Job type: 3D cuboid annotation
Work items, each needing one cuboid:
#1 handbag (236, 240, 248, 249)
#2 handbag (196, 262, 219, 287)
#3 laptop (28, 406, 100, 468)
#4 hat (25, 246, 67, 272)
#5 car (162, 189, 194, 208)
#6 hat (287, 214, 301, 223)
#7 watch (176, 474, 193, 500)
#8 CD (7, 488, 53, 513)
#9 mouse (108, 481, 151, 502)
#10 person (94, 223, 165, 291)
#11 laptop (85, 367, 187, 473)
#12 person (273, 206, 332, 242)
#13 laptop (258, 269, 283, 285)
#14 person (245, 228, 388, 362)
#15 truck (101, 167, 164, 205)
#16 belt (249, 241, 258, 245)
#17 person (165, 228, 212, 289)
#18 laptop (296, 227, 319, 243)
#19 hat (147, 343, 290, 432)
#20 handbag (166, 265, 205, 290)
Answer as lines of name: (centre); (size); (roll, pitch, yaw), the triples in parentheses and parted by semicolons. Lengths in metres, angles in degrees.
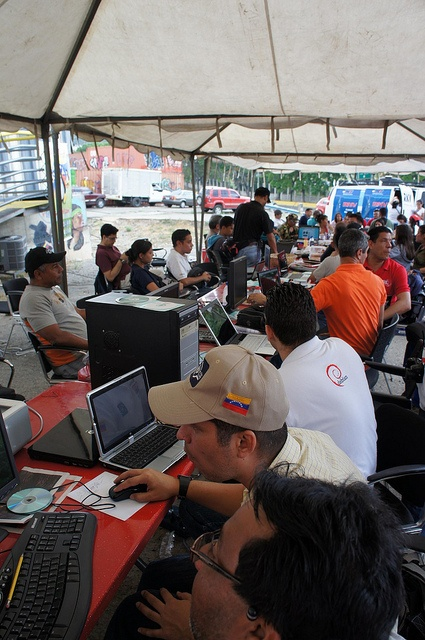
handbag: (0.452, -1.191, 6.459); (0.226, 0.123, 0.142); (-5, 17, -16)
handbag: (-0.025, -0.643, 5.822); (0.339, 0.459, 0.336); (-1, 5, 3)
laptop: (-0.608, 0.493, 1.742); (0.274, 0.068, 0.375); (13, 17, -19)
hat: (-1.313, -0.467, 3.194); (0.278, 0.204, 0.208); (-9, 13, -24)
car: (-2.248, -7.700, 25.852); (2.027, 1.080, 1.874); (-7, 12, -14)
hat: (1.922, -2.520, 9.874); (0.206, 0.274, 0.237); (5, 2, -25)
watch: (-0.083, 0.602, 1.466); (0.051, 0.073, 0.078); (6, -15, 9)
CD: (-0.603, 0.603, 1.350); (0.085, 0.003, 0.085); (1, 8, -6)
mouse: (-0.294, 0.597, 1.401); (0.104, 0.030, 0.052); (0, 5, -23)
person: (-1.141, -0.725, 5.805); (1.021, 1.168, 0.563); (-1, 26, -4)
laptop: (-0.347, 0.441, 1.720); (0.341, 0.331, 0.440); (11, 23, 29)
person: (2.238, -2.215, 9.904); (1.194, 0.772, 1.215); (3, 14, 23)
laptop: (0.569, -0.428, 4.081); (0.029, 0.236, 0.417); (3, 10, 38)
person: (0.994, -0.062, 3.533); (0.593, 1.442, 0.893); (-22, 33, -37)
truck: (-4.352, -7.200, 22.059); (1.770, 1.633, 3.139); (21, 29, 36)
belt: (0.659, -1.232, 6.533); (0.096, 0.071, 0.097); (1, 6, 10)
person: (-0.352, -0.814, 5.338); (0.523, 0.726, 0.693); (2, 13, 25)
laptop: (2.155, -1.949, 9.325); (0.499, 0.322, 0.355); (7, 12, 15)
hat: (0.027, 0.187, 1.198); (0.415, 0.220, 0.268); (11, 13, 8)
handbag: (-0.348, -0.511, 5.349); (0.449, 0.176, 0.328); (-6, 24, -1)
